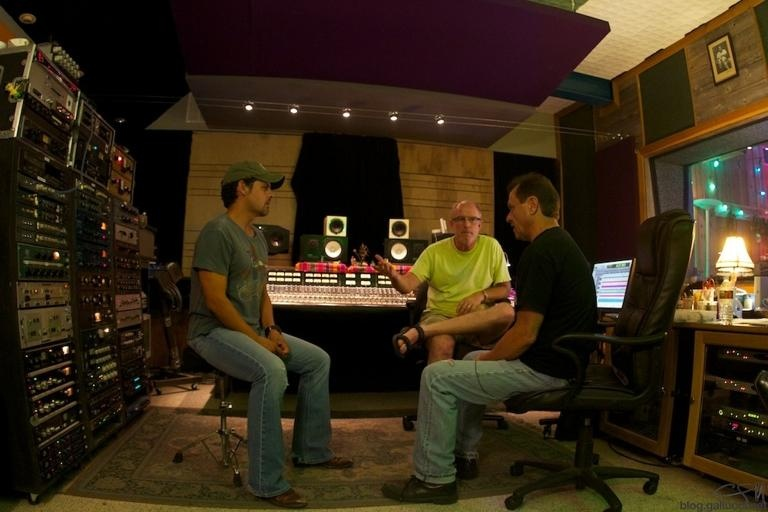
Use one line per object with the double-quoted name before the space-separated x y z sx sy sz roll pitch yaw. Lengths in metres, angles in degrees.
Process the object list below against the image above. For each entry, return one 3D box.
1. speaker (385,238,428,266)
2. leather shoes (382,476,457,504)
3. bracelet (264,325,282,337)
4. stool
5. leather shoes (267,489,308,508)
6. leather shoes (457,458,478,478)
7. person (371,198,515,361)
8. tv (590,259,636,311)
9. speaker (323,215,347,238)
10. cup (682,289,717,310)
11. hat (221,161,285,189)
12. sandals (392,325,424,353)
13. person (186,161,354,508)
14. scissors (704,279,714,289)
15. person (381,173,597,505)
"speaker" 0.233 -0.070 6.470 0.509 0.333 0.273 5 -3 -6
"leather shoes" 0.272 1.641 4.084 0.534 0.242 0.207 3 -10 6
"bracelet" -0.878 0.580 4.400 0.085 0.058 0.086 -10 -36 23
"stool" -1.351 1.326 4.739 0.653 0.794 0.661 -16 -30 19
"leather shoes" -0.690 1.683 3.964 0.224 0.084 0.122 -2 -9 19
"leather shoes" 0.631 1.603 4.285 0.200 0.128 0.098 0 -1 -18
"person" 0.492 0.268 4.743 1.304 1.540 0.956 3 -2 -31
"tv" 2.079 0.267 5.094 0.067 0.371 0.508 25 4 -7
"speaker" -0.560 -0.356 6.432 0.246 0.254 0.251 2 7 0
"cup" 2.704 0.362 4.835 0.235 0.238 0.155 0 0 42
"hat" -1.018 -0.643 4.412 0.468 0.174 0.295 2 6 -10
"sandals" 0.176 0.614 4.198 0.137 0.088 0.256 18 13 21
"person" -0.878 0.490 4.260 1.068 2.390 0.769 5 8 35
"scissors" 2.883 0.242 4.991 0.088 0.068 0.361 5 9 30
"person" 0.853 0.572 4.065 1.368 2.325 0.488 1 7 -1
